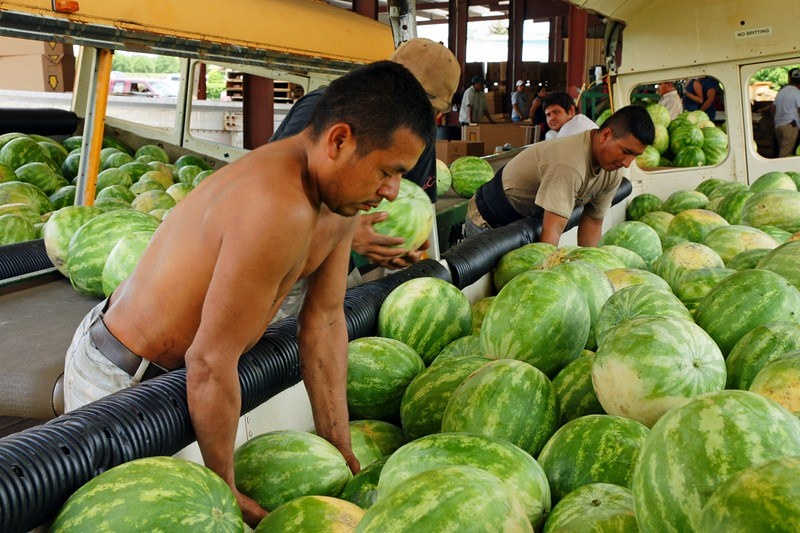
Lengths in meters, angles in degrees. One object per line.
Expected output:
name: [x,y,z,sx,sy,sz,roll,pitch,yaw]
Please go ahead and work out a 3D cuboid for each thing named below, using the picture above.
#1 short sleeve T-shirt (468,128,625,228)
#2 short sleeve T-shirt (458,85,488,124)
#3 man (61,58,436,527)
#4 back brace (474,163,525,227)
short sleeve T-shirt: [1.066,-0.631,3.788,0.769,0.737,1.004,-10,-8,-46]
short sleeve T-shirt: [1.969,-4.281,13.442,0.852,1.081,0.578,-14,21,-41]
man: [-0.476,0.021,1.553,1.113,1.263,0.591,3,12,4]
back brace: [0.771,-0.487,4.152,0.337,0.449,0.436,-22,-31,30]
